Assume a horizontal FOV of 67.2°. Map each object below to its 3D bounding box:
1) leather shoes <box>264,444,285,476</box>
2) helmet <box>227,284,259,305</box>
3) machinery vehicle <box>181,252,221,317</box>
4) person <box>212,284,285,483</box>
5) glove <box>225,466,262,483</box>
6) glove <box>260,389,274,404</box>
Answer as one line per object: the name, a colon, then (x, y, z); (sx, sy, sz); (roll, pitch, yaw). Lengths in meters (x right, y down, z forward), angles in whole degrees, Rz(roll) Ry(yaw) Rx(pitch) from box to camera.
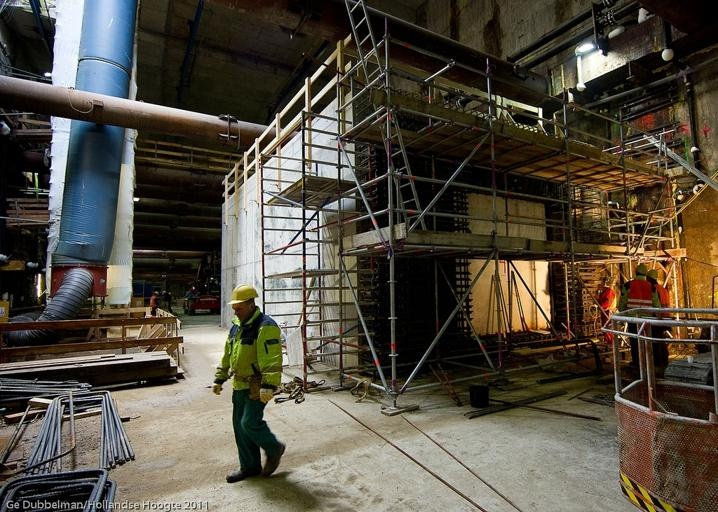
leather shoes: (-1.425, 3.423, 9.000); (0.260, 0.572, 0.215); (32, 8, -1)
helmet: (-1.910, 0.679, 9.143); (0.335, 0.223, 0.450); (-2, -2, 33)
machinery vehicle: (-9.221, 1.684, 32.124); (1.830, 3.761, 2.458); (2, -4, -17)
person: (-1.828, 2.145, 9.054); (1.215, 3.268, 0.555); (-2, -5, 26)
glove: (-1.942, 3.676, 9.013); (0.578, 0.207, 0.195); (6, -9, -23)
glove: (-1.542, 2.305, 8.813); (0.222, 0.095, 0.284); (2, -5, -32)
